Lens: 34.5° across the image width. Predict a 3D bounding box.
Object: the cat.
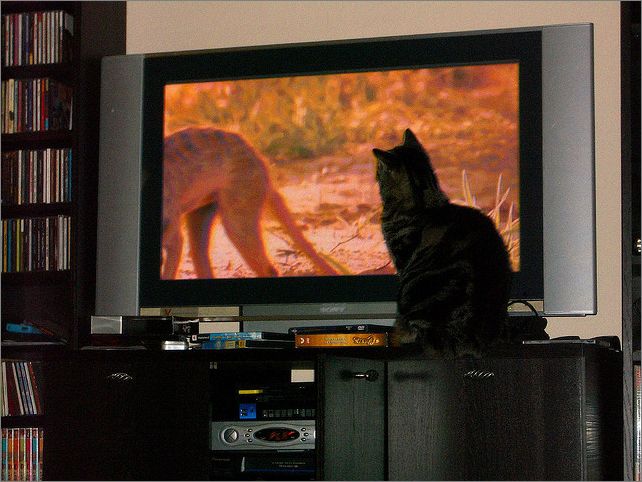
[{"bbox_3d":[0.385,-0.011,3.403,0.423,0.783,0.232,-4,-7,23],"label":"cat"}]
